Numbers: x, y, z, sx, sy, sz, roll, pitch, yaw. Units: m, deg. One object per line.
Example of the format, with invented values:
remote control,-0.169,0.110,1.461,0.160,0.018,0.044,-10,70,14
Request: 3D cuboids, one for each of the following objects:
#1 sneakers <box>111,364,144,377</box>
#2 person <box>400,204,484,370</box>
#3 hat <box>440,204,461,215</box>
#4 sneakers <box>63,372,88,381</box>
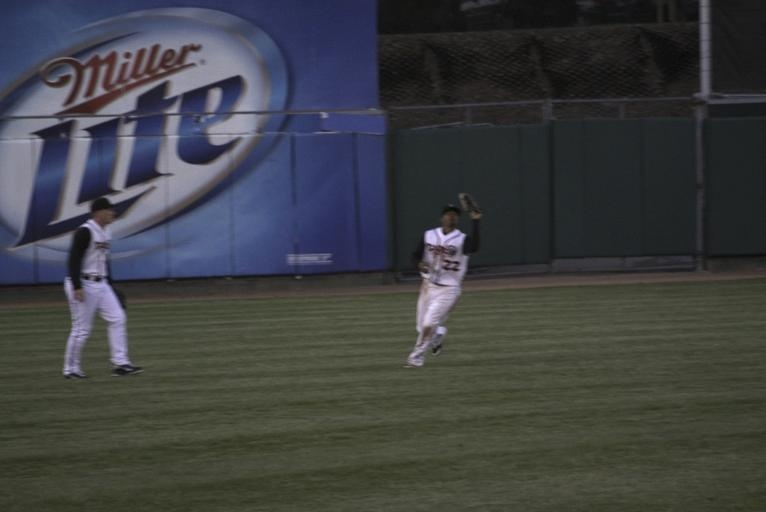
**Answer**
sneakers,-4.886,2.165,29.298,0.679,0.192,0.202,-1,9,-7
person,1.156,0.481,29.595,1.399,3.297,0.876,0,-1,17
hat,1.324,-0.875,29.612,0.297,0.182,0.358,0,-1,12
sneakers,-5.846,2.269,29.243,0.454,0.142,0.137,1,1,-7
